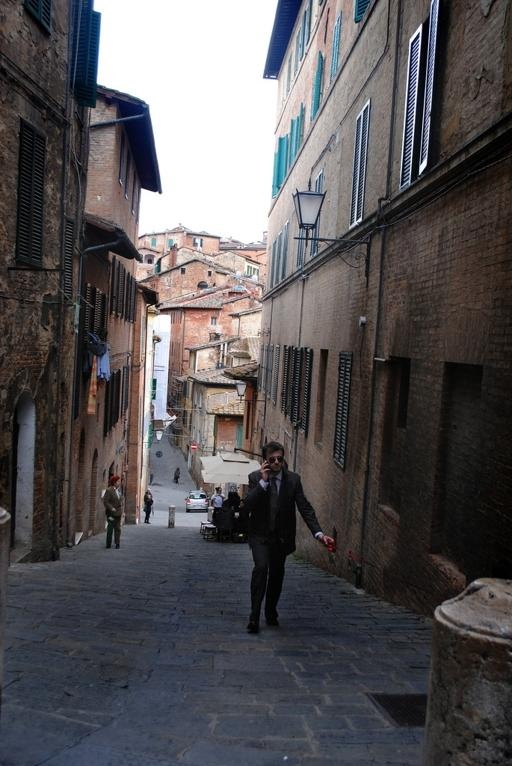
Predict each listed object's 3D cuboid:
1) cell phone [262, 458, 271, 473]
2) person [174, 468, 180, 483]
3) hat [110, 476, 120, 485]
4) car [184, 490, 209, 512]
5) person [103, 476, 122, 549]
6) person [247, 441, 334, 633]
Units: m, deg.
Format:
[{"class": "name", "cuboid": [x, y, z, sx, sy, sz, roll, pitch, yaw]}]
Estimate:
[{"class": "cell phone", "cuboid": [0.093, 0.746, 5.057, 0.075, 0.095, 0.136, 12, -8, 4]}, {"class": "person", "cuboid": [-6.577, 7.689, 45.899, 0.274, 1.188, 1.589, 3, -12, -13]}, {"class": "hat", "cuboid": [-3.216, 2.201, 12.672, 0.192, 0.198, 0.646, 5, -13, -15]}, {"class": "car", "cuboid": [-3.923, 8.003, 37.667, 1.493, 1.379, 1.676, 3, -12, -5]}, {"class": "person", "cuboid": [-3.448, 3.031, 13.458, 0.459, 1.706, 2.526, 4, -12, -13]}, {"class": "person", "cuboid": [0.234, 1.407, 5.138, 0.776, 1.645, 0.707, -5, -12, 30]}]
